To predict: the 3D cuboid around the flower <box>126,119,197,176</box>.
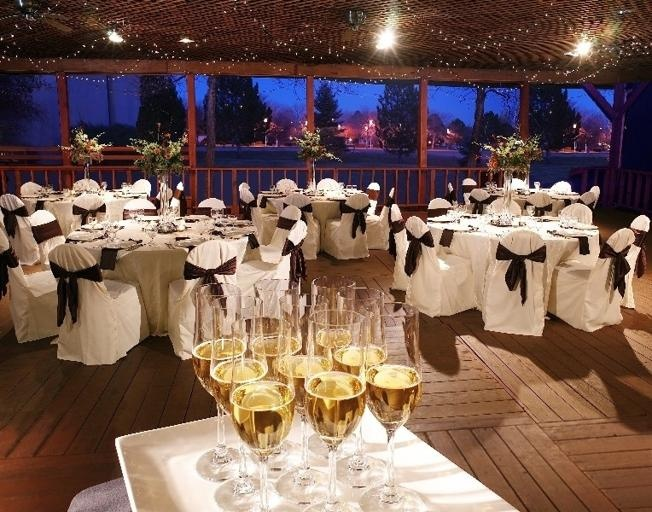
[{"bbox_3d":[-1.738,-1.046,4.688,0.480,0.438,0.408,-6,15,-24],"label":"flower"}]
